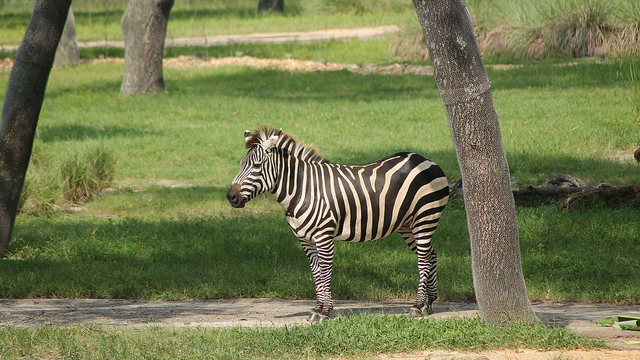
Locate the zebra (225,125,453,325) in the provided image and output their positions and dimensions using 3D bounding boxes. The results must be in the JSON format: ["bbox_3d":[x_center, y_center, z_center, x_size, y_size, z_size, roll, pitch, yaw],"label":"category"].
[{"bbox_3d":[0.515,1.638,43.891,6.646,5.067,1.851,-1,2,-3],"label":"zebra"}]
